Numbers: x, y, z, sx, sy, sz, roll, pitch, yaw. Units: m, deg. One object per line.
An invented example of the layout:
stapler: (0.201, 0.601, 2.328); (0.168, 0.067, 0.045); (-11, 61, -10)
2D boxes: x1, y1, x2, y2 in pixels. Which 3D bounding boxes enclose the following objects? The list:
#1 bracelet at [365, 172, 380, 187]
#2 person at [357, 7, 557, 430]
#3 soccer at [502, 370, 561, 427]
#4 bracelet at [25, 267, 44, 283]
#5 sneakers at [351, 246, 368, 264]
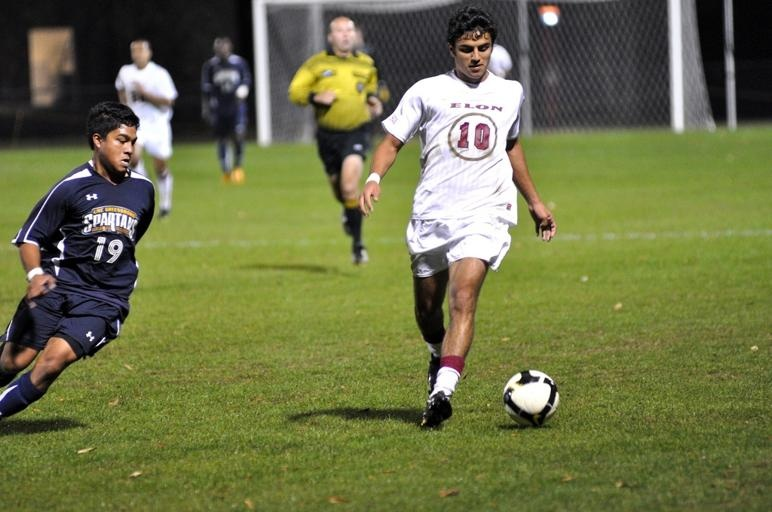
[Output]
bracelet: (-0.090, -0.525, 7.007); (0.073, 0.079, 0.080); (-2, 12, 0)
person: (0.452, -0.315, 7.141); (0.919, 2.782, 0.654); (-7, 9, -38)
soccer: (0.992, 0.972, 6.941); (0.361, 0.354, 0.351); (0, -9, -2)
bracelet: (-2.329, 0.111, 6.731); (0.069, 0.096, 0.092); (29, -35, -6)
sneakers: (-0.282, -0.010, 10.945); (0.179, 0.198, 0.177); (-2, -5, -2)
